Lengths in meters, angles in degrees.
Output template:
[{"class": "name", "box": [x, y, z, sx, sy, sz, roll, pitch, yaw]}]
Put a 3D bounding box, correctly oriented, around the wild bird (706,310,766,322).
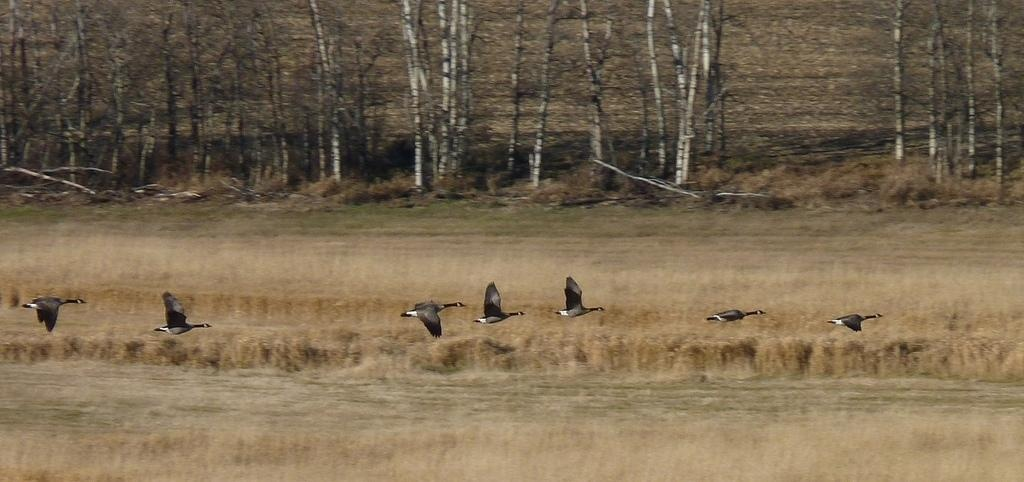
[{"class": "wild bird", "box": [10.988, 3.592, 111.610, 3.688, 0.487, 0.750, -6, 1, -5]}]
